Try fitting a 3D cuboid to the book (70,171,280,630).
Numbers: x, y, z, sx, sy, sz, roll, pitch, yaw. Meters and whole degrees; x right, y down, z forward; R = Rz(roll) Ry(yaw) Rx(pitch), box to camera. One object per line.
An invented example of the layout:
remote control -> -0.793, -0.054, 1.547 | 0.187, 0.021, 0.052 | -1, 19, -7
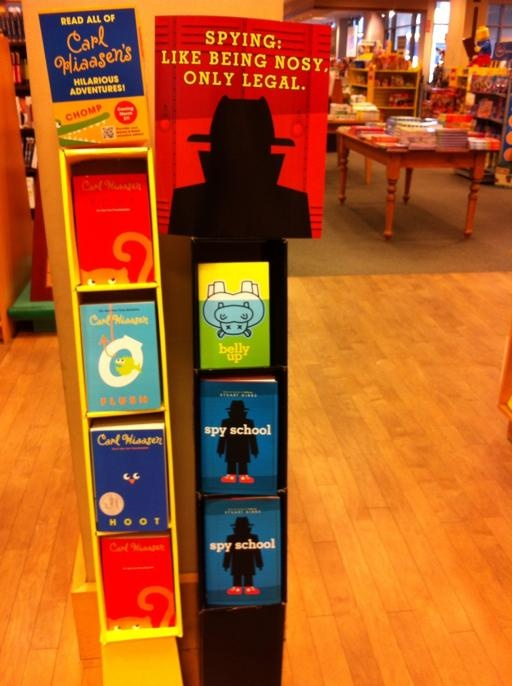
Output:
book -> -0.143, 0.235, 1.317 | 0.432, 1.285, 0.470 | 0, 24, 0
